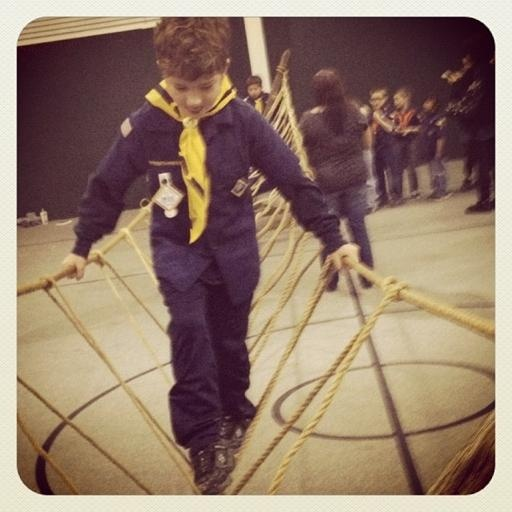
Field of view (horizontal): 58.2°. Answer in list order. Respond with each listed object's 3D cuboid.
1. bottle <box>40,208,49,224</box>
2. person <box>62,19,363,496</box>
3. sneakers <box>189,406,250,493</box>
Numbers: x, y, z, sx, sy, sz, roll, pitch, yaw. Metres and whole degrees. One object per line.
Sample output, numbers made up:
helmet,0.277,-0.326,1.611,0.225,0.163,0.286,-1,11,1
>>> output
bottle,-0.795,-0.149,1.729,0.028,0.054,0.055,-13,16,-25
person,-0.183,-0.014,1.697,0.947,1.674,0.444,-12,15,-22
sneakers,-0.124,0.707,1.698,0.156,0.291,0.074,25,-14,8
